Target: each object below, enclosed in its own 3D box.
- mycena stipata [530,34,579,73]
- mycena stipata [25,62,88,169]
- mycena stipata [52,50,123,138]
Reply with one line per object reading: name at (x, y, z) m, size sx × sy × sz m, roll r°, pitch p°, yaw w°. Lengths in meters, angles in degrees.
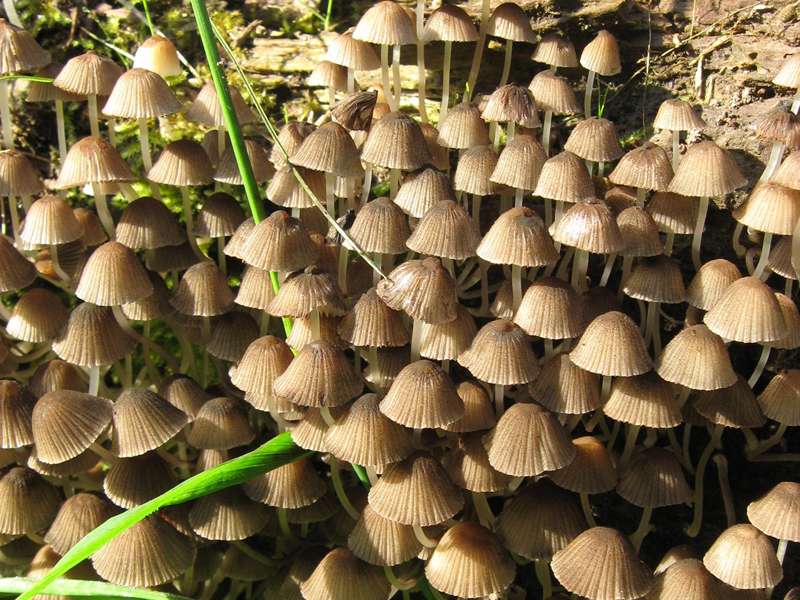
mycena stipata at (0.671, -1.075, 3.467) m, size 0.178 × 0.138 × 0.160 m, roll 4°, pitch 28°, yaw -3°
mycena stipata at (-1.532, -0.825, 3.565) m, size 0.271 × 0.392 × 0.242 m, roll -5°, pitch 16°, yaw 4°
mycena stipata at (-1.279, -0.855, 3.324) m, size 0.309 × 0.320 × 0.296 m, roll 7°, pitch 22°, yaw 0°
